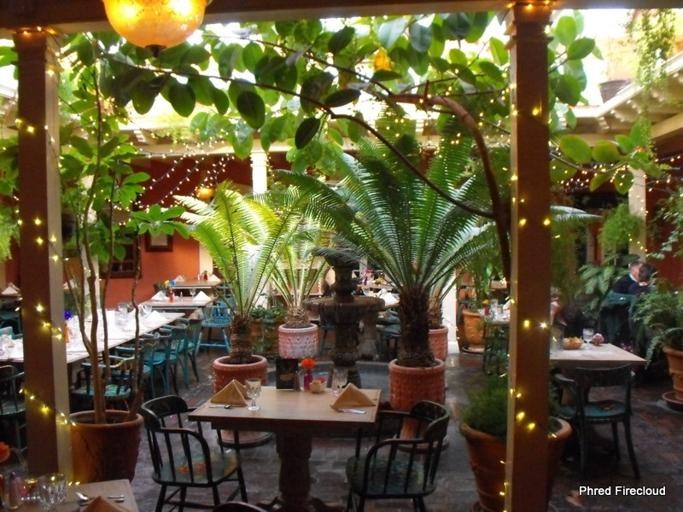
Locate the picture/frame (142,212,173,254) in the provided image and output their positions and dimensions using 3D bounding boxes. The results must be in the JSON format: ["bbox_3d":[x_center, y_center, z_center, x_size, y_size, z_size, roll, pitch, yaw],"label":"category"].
[{"bbox_3d":[-2.696,-0.266,7.756,0.585,0.577,0.156,1,-8,-13],"label":"picture/frame"}]

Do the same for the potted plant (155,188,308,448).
[{"bbox_3d":[-1.029,0.619,6.144,1.407,2.462,1.652,2,8,-26],"label":"potted plant"}]

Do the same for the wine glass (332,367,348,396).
[{"bbox_3d":[-0.011,1.002,4.281,0.112,0.147,0.156,-1,0,-6],"label":"wine glass"}]

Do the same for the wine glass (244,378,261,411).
[{"bbox_3d":[-0.675,1.037,4.082,0.105,0.177,0.349,-1,0,-11],"label":"wine glass"}]
